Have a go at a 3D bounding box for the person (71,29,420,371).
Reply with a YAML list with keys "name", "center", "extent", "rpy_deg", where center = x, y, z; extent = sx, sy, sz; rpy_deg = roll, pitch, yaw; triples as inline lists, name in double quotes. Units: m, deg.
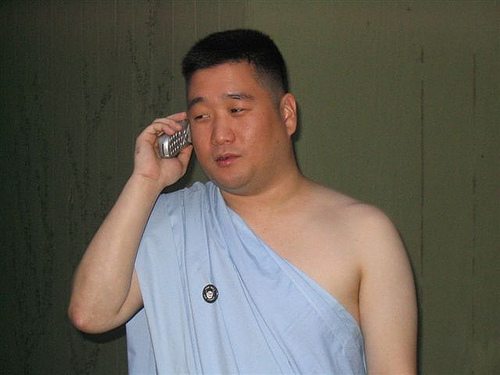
- name: "person"
  center: [-0.037, 0.028, 2.246]
  extent: [1.246, 1.291, 0.395]
  rpy_deg: [-4, -8, 20]
